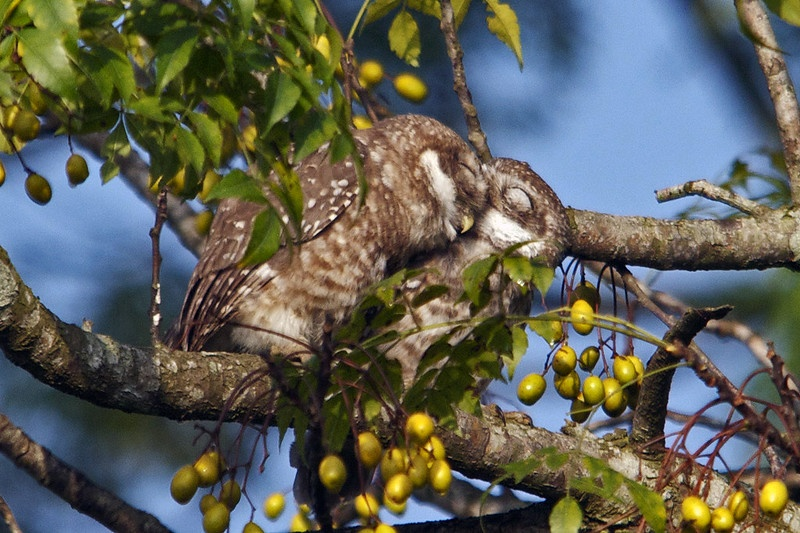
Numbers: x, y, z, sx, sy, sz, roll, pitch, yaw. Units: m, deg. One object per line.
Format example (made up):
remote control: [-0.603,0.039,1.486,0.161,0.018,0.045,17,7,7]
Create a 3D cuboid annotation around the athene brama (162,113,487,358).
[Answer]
athene brama: [-0.540,-0.114,9.665,1.938,1.559,0.973,-2,-5,-12]
